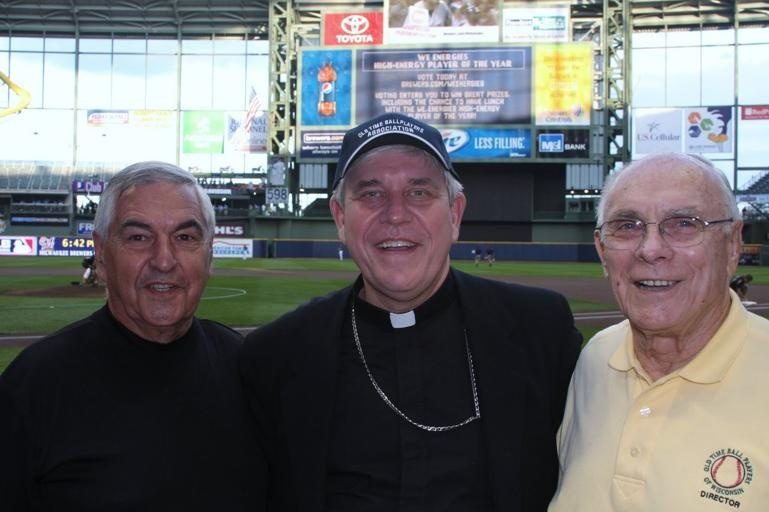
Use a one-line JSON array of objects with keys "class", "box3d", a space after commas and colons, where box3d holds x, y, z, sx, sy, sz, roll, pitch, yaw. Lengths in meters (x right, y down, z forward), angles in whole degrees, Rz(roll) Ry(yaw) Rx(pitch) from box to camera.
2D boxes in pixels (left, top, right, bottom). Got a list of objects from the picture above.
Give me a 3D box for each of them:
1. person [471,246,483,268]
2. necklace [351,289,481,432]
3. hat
[{"class": "person", "box3d": [4.443, -0.131, 39.093, 0.871, 1.239, 0.911, 0, -1, 2]}, {"class": "necklace", "box3d": [0.067, 0.632, 4.571, 0.452, 0.780, 0.109, -3, -28, -13]}, {"class": "hat", "box3d": [0.068, -0.668, 5.060, 0.622, 0.431, 0.834, -1, -1, 1]}]
